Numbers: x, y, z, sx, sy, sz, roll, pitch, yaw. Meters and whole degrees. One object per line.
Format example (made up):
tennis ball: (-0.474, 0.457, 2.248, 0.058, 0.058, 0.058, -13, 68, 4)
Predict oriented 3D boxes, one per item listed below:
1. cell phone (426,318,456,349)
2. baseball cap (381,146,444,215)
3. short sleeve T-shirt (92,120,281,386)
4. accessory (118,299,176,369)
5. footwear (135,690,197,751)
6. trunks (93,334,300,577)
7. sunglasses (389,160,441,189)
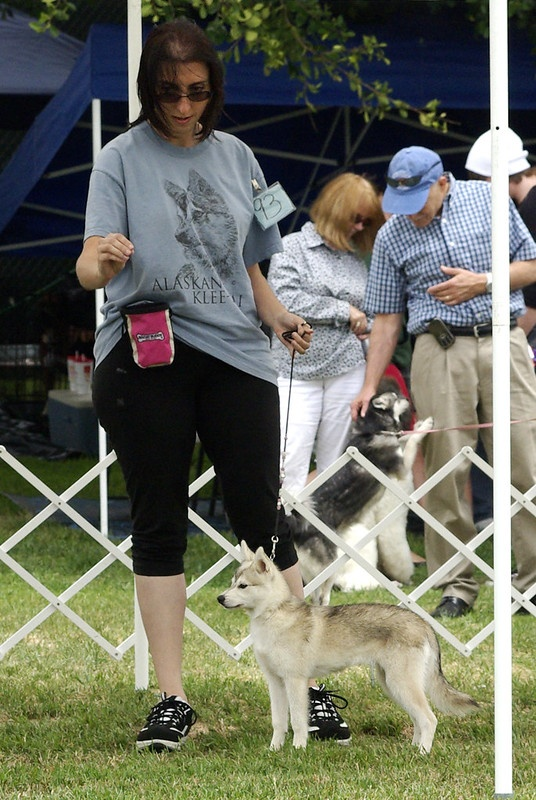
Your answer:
cell phone: (0.728, -0.273, 4.609, 0.042, 0.126, 0.095, -34, -6, -46)
baseball cap: (0.599, -0.918, 4.635, 0.216, 0.158, 0.316, 10, 56, 34)
short sleeve T-shirt: (-0.231, -0.419, 3.262, 0.635, 0.768, 0.308, -2, 3, -16)
accessory: (-0.329, -0.169, 3.131, 0.146, 0.170, 0.114, -10, 8, -26)
footwear: (-0.297, 0.934, 3.180, 0.102, 0.089, 0.208, 6, -4, 8)
trunks: (-0.203, 0.172, 3.356, 0.618, 0.839, 0.307, -12, 20, -15)
sunglasses: (0.608, -0.960, 4.609, 0.140, 0.095, 0.187, 3, 36, 30)
